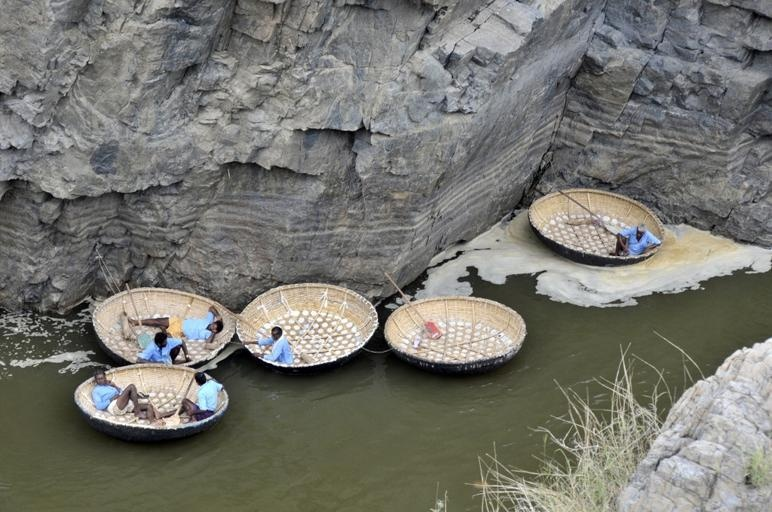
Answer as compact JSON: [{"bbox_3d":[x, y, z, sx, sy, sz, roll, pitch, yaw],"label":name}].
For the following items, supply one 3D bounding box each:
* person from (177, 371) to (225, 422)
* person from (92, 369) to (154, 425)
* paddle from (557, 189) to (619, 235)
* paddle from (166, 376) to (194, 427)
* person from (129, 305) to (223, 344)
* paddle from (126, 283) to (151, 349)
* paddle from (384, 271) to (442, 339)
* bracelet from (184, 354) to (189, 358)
[{"bbox_3d":[-2.237,1.761,11.326,0.545,0.762,0.542,4,20,-18],"label":"person"},{"bbox_3d":[-3.130,1.641,11.232,0.958,0.526,0.411,5,28,25],"label":"person"},{"bbox_3d":[3.202,-0.674,14.673,1.156,0.136,0.079,43,0,38],"label":"paddle"},{"bbox_3d":[-2.466,1.755,11.217,0.166,0.549,0.133,29,0,6],"label":"paddle"},{"bbox_3d":[-2.788,0.932,12.415,0.975,0.199,0.508,7,34,-6],"label":"person"},{"bbox_3d":[-3.338,0.849,12.386,0.283,0.086,1.026,-10,58,-28],"label":"paddle"},{"bbox_3d":[0.353,0.712,13.041,0.213,0.243,1.022,-35,68,-27],"label":"paddle"},{"bbox_3d":[-2.611,1.295,12.097,0.042,0.035,0.108,0,-9,-6],"label":"bracelet"}]
